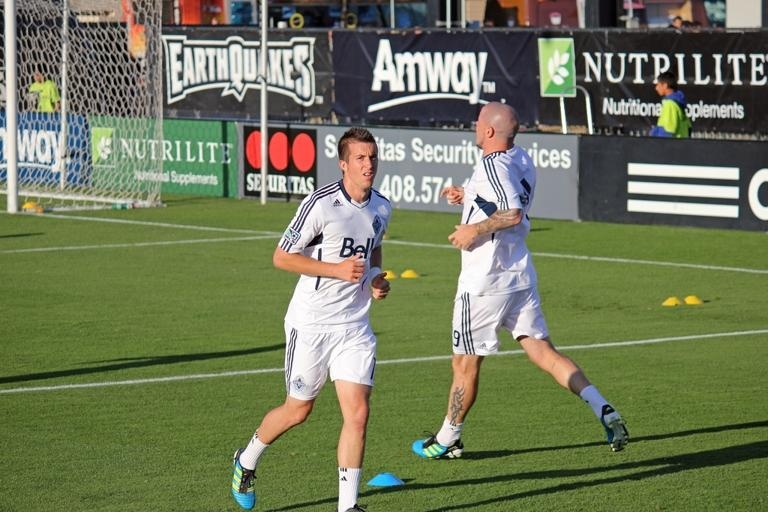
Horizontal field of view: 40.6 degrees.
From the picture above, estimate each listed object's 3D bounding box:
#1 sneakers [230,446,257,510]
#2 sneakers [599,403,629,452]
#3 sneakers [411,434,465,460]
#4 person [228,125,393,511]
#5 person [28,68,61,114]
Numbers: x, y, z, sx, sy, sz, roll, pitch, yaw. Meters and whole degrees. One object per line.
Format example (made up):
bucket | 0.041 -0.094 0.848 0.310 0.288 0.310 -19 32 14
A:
sneakers | -1.111 1.702 8.080 0.168 0.491 0.206 -3 -7 -27
sneakers | 1.884 1.366 8.403 0.156 0.432 0.207 -22 1 21
sneakers | 0.461 1.653 8.915 0.398 0.192 0.192 3 7 7
person | -0.489 0.506 7.901 1.110 2.843 0.871 -1 11 -4
person | -7.673 -3.632 23.399 0.615 0.953 0.521 -4 25 -8
